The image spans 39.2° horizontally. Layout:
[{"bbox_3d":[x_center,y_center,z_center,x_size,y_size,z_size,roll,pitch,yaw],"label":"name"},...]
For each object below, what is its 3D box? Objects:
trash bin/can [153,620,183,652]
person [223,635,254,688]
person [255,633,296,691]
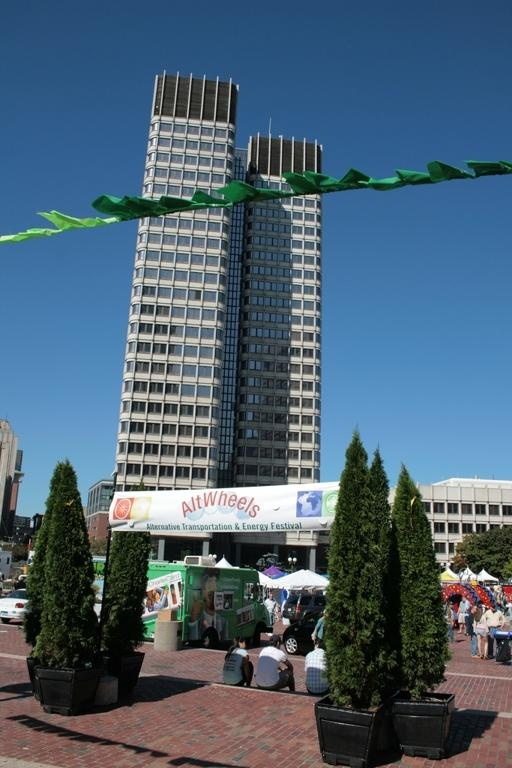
[{"bbox_3d":[-2.205,6.339,18.233,0.742,0.696,0.708,-2,-8,18],"label":"trash bin/can"},{"bbox_3d":[-0.313,5.084,13.146,0.530,0.914,0.754,4,-10,-1],"label":"person"},{"bbox_3d":[0.404,4.923,12.675,0.757,1.038,0.654,8,-11,-24],"label":"person"}]
